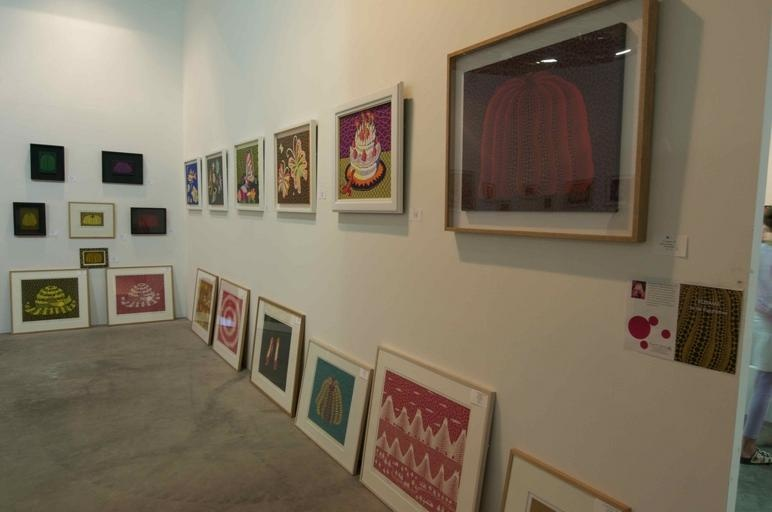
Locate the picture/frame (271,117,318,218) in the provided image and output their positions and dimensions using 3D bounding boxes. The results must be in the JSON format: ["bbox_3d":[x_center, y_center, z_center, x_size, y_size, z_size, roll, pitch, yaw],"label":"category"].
[{"bbox_3d":[-0.866,-0.852,4.664,0.074,1.009,0.941,-1,3,-33],"label":"picture/frame"}]

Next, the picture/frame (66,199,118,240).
[{"bbox_3d":[-4.512,-0.547,7.358,0.563,0.582,0.057,-1,-1,-36],"label":"picture/frame"}]

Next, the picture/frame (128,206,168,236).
[{"bbox_3d":[-3.842,-0.551,7.751,0.445,0.427,0.045,0,0,-36],"label":"picture/frame"}]

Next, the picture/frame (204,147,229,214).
[{"bbox_3d":[-2.239,-1.003,6.430,0.068,0.891,0.861,-3,4,-33],"label":"picture/frame"}]

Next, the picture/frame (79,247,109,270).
[{"bbox_3d":[-4.490,0.037,7.412,0.315,0.301,0.034,-1,2,-38],"label":"picture/frame"}]

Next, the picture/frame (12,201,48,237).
[{"bbox_3d":[-5.161,-0.533,6.984,0.450,0.648,0.064,-3,6,-41],"label":"picture/frame"}]

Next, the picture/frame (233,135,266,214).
[{"bbox_3d":[-1.543,-0.925,5.511,0.084,0.939,0.889,-2,2,-34],"label":"picture/frame"}]

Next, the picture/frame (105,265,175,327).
[{"bbox_3d":[-3.931,0.650,7.644,0.816,0.889,0.063,-2,-1,-31],"label":"picture/frame"}]

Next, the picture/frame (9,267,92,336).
[{"bbox_3d":[-4.961,0.682,7.081,0.851,0.937,0.055,-2,-4,-33],"label":"picture/frame"}]

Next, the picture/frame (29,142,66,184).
[{"bbox_3d":[-4.944,-1.355,7.034,0.550,0.729,0.066,-3,4,-43],"label":"picture/frame"}]

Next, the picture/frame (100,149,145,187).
[{"bbox_3d":[-4.138,-1.369,7.531,0.548,0.507,0.054,-3,2,-38],"label":"picture/frame"}]
